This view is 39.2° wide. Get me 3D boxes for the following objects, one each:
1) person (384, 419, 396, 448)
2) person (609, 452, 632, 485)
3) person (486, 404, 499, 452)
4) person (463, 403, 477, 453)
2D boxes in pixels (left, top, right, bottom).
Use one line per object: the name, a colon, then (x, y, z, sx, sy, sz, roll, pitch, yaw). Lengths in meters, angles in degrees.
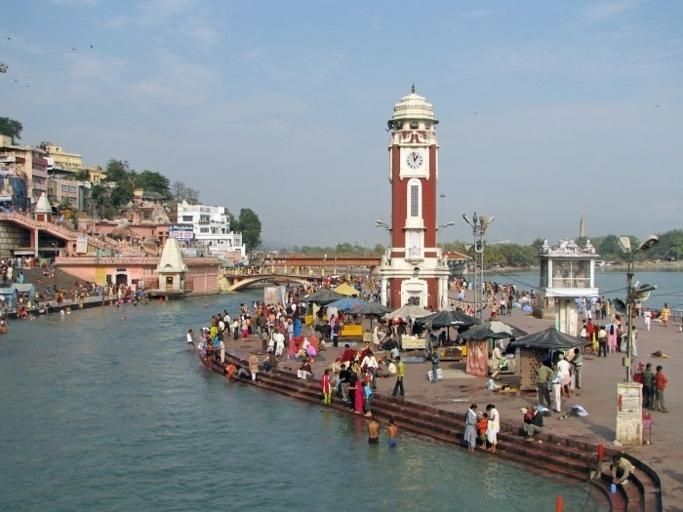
person: (1.878, 6.571, 36.215, 0.390, 1.015, 0.958, -4, 10, 3)
person: (9.364, 7.156, 32.147, 0.718, 0.891, 0.482, -1, 11, 18)
person: (5.491, 6.279, 35.210, 0.436, 1.570, 0.535, 1, 12, 24)
person: (4.845, 6.390, 35.607, 0.618, 1.697, 0.595, 6, -8, -32)
